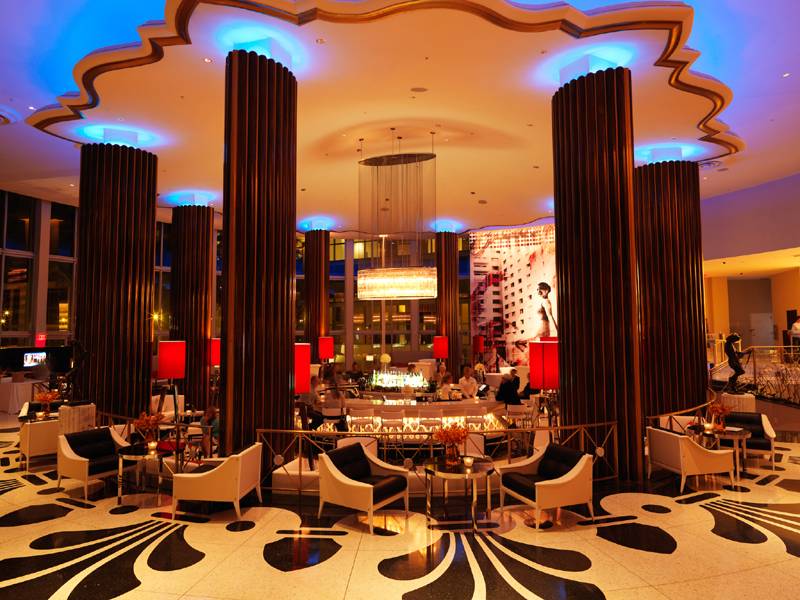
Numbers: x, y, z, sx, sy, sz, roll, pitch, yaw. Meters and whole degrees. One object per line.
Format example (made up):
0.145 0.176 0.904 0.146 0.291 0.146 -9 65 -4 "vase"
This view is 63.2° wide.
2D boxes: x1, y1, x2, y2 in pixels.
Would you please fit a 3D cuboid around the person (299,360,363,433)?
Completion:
-1.484 1.959 12.823 0.838 1.157 0.375 5 -3 -30 "person"

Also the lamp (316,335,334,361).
-2.140 1.343 18.571 0.427 0.688 0.728 -1 10 -7 "lamp"

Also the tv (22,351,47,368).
-9.053 1.458 16.071 0.569 0.432 0.311 2 -1 -26 "tv"

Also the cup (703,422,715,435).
4.832 2.011 10.136 0.143 0.167 0.150 4 -8 1 "cup"
